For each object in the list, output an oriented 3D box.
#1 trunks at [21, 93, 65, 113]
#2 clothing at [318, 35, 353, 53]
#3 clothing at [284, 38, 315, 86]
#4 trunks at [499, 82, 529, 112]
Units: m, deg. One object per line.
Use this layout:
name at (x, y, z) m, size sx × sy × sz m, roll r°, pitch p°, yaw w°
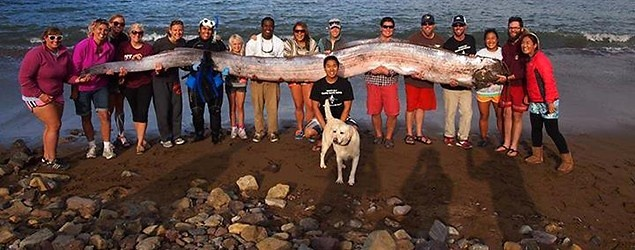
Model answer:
trunks at (-10.071, -0.805, 12.917) m, size 1.068 × 0.401 × 0.737 m, roll -7°, pitch 10°, yaw -6°
clothing at (0.700, -3.340, 13.771) m, size 1.613 × 0.886 × 0.686 m, roll 0°, pitch 9°, yaw 2°
clothing at (-0.700, -2.673, 14.236) m, size 1.649 × 1.581 × 0.621 m, roll 3°, pitch 5°, yaw -5°
trunks at (7.465, -1.079, 13.224) m, size 0.842 × 0.993 × 1.347 m, roll 1°, pitch -1°, yaw -40°
